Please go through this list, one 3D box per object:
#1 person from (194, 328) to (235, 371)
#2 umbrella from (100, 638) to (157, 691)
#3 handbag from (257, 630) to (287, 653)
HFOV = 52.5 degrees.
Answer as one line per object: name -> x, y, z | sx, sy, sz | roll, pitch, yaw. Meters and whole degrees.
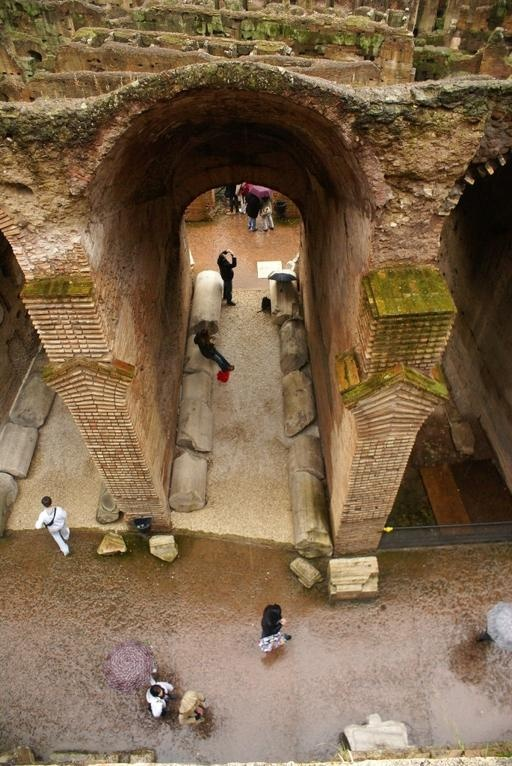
person -> -0.723, -0.491, 8.828 | 0.631, 0.896, 0.406 | 8, 34, 12
umbrella -> -1.361, 3.086, 5.680 | 0.549, 0.174, 0.505 | -5, 33, -9
handbag -> 0.181, 2.852, 5.731 | 0.333, 0.231, 0.099 | -20, -4, 8
